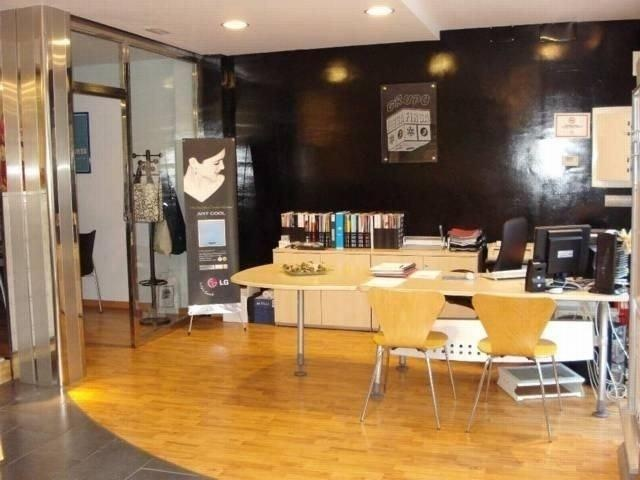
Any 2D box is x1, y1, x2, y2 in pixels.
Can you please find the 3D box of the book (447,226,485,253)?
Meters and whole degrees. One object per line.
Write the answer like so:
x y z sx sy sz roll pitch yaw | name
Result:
1.786 -0.007 6.637 0.483 0.243 0.357 -1 9 -4 | book

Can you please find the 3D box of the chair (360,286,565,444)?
1.252 1.085 4.678 1.105 0.748 0.419 2 12 21 | chair

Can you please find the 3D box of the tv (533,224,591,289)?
2.095 0.149 4.763 0.508 0.504 0.181 -2 12 -8 | tv
